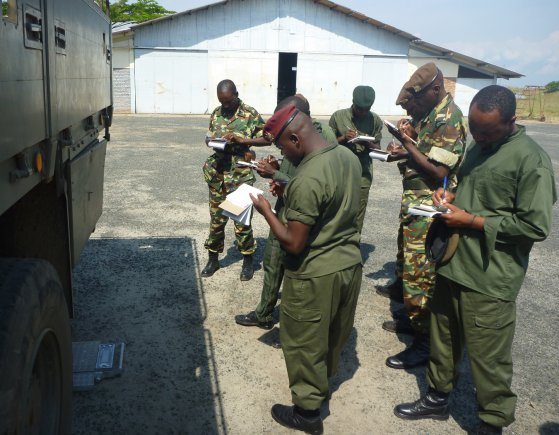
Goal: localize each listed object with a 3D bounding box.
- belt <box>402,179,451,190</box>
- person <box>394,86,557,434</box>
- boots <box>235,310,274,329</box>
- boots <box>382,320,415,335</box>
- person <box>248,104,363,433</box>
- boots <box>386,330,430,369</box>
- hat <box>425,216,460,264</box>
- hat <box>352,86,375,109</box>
[{"bbox_3d":[1.340,-0.312,3.825,0.244,0.082,0.182,9,18,36],"label":"belt"},{"bbox_3d":[1.330,0.315,2.743,0.690,2.285,0.650,9,17,23],"label":"person"},{"bbox_3d":[-0.225,0.958,3.956,0.358,0.164,0.151,14,1,8],"label":"boots"},{"bbox_3d":[1.138,1.049,3.959,0.294,0.117,0.110,10,14,20],"label":"boots"},{"bbox_3d":[0.228,0.374,2.713,0.639,2.108,0.510,-6,17,-27],"label":"person"},{"bbox_3d":[1.104,1.117,3.507,0.429,0.290,0.160,3,4,-16],"label":"boots"},{"bbox_3d":[1.112,0.157,2.797,0.155,0.402,0.242,12,-17,-20],"label":"hat"},{"bbox_3d":[1.006,-1.431,4.917,0.230,0.271,0.290,7,16,15],"label":"hat"}]
